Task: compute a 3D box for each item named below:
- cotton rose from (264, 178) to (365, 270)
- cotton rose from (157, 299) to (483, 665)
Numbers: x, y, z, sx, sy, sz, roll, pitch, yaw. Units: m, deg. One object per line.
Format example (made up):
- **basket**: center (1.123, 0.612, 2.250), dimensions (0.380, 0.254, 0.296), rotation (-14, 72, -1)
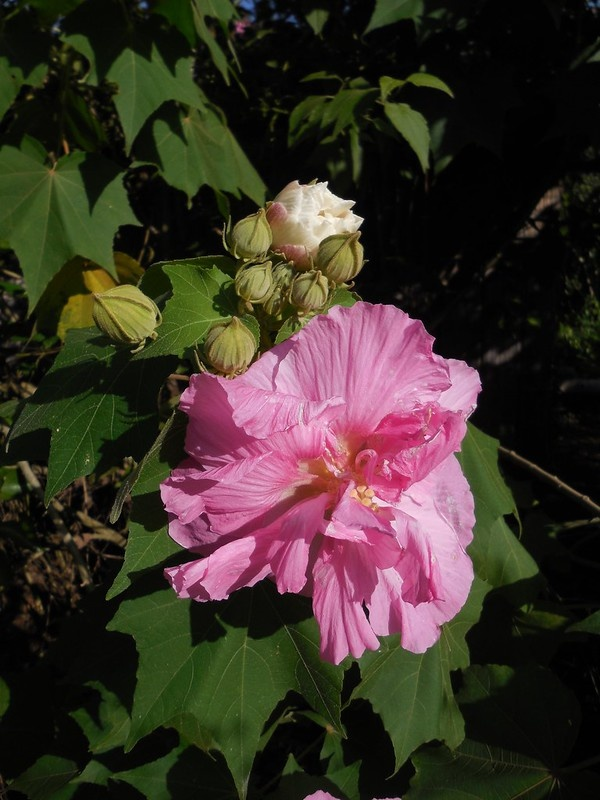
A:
- **cotton rose**: center (0.021, -0.295, 1.182), dimensions (0.142, 0.078, 0.160), rotation (5, 64, 12)
- **cotton rose**: center (0.025, 0.110, 1.113), dimensions (0.572, 0.221, 0.503), rotation (-4, 96, -12)
